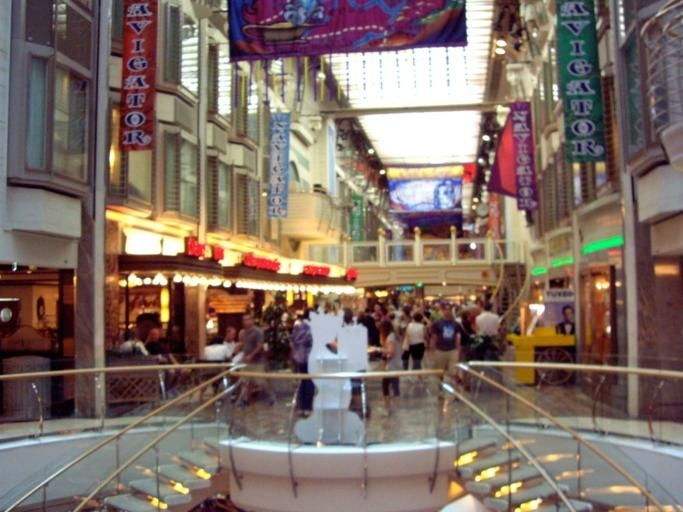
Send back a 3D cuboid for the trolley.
[{"bbox_3d":[4.193,1.981,14.078,1.320,1.286,1.032,-2,3,3],"label":"trolley"}]
